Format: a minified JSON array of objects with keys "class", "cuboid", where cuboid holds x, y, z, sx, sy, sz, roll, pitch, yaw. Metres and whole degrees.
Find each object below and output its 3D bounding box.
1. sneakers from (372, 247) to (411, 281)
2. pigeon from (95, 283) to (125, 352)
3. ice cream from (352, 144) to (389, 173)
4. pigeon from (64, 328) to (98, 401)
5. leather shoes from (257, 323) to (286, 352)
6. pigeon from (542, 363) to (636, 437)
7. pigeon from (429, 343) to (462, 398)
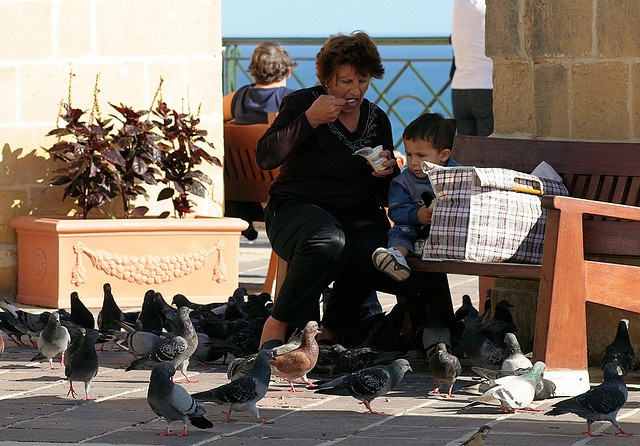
[{"class":"sneakers","cuboid":[0.475,0.264,7.531,0.279,0.151,0.135,37,32,-12]},{"class":"pigeon","cuboid":[-1.559,0.703,8.696,0.230,0.528,0.670,1,5,-5]},{"class":"ice cream","cuboid":[0.362,-0.452,7.768,0.155,0.083,0.189,-12,41,-25]},{"class":"pigeon","cuboid":[-1.513,0.886,7.313,0.204,0.406,0.541,-1,0,-12]},{"class":"leather shoes","cuboid":[-0.276,0.770,7.574,0.149,0.178,0.177,27,-17,-11]},{"class":"pigeon","cuboid":[1.582,1.006,6.538,0.562,0.384,0.332,-1,1,-24]},{"class":"pigeon","cuboid":[0.787,0.917,7.204,0.191,0.337,0.325,-1,1,5]}]
